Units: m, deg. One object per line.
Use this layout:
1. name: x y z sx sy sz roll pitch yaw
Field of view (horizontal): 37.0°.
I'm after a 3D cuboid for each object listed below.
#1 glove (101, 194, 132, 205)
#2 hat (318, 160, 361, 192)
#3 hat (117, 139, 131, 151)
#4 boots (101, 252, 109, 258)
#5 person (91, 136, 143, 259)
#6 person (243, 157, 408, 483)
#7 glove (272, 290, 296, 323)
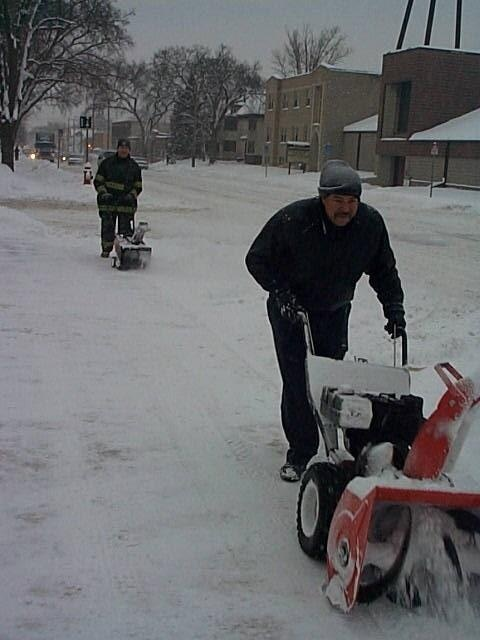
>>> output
1. glove: -1.851 -1.804 10.616 0.482 0.150 0.190 -2 12 -34
2. hat: 0.488 -0.685 3.457 0.205 0.167 0.262 7 11 10
3. hat: -1.674 -2.518 10.275 0.154 0.138 0.232 1 11 -16
4. boots: -2.083 -1.004 10.982 0.059 0.074 0.136 0 16 -5
5. person: -1.861 -1.805 10.790 0.492 1.976 0.543 1 31 -13
6. person: 0.436 0.046 3.806 0.837 1.742 0.800 3 9 0
7. glove: 0.234 -0.073 3.683 0.079 0.169 0.045 -11 -19 -35
